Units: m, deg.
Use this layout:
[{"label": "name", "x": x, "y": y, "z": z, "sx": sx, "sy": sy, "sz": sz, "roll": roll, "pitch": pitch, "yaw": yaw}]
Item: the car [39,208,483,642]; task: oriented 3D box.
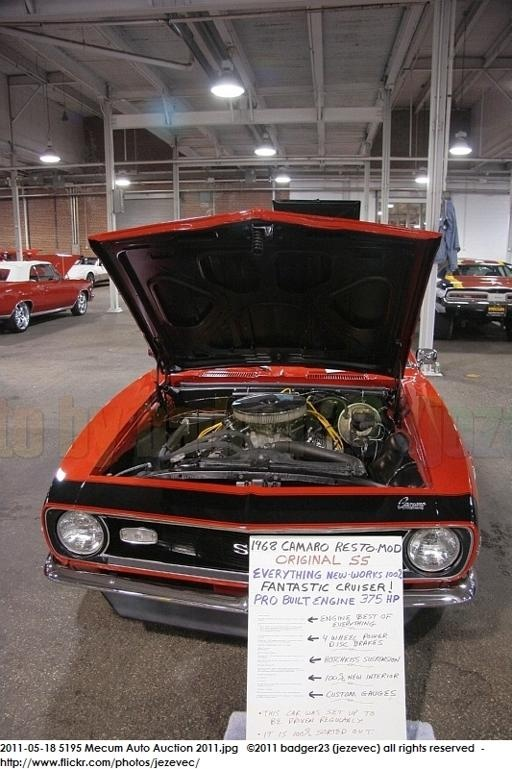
[{"label": "car", "x": 0.039, "y": -0.059, "z": 2.142, "sx": 1.132, "sy": 1.053, "sz": 1.993, "roll": 0, "pitch": 22, "yaw": 6}]
